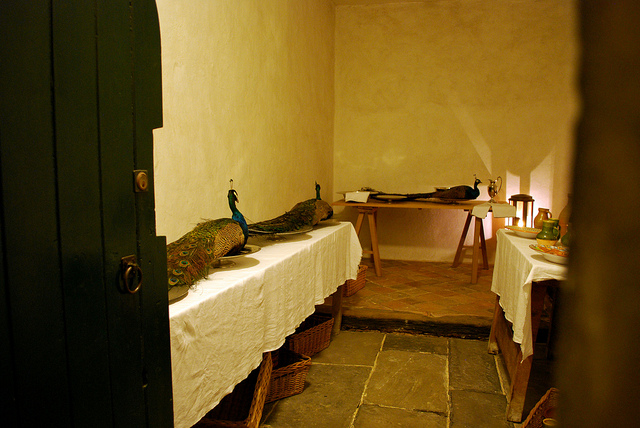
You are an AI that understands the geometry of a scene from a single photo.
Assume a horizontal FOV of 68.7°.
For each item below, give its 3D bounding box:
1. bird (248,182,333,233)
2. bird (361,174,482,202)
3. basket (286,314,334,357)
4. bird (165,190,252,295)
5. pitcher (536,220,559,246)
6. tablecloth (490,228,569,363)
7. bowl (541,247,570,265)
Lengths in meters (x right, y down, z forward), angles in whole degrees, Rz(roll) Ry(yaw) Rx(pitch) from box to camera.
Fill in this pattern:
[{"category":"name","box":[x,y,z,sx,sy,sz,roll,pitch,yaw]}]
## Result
[{"category":"bird","box":[-0.159,-0.025,3.017,0.206,0.242,0.582,5,8,30]},{"category":"bird","box":[1.345,-0.258,5.553,1.055,0.233,0.355,0,8,8]},{"category":"basket","box":[-0.080,0.862,3.335,0.222,0.126,0.322,-2,-2,25]},{"category":"bird","box":[-0.454,0.098,1.840,0.192,0.318,0.491,15,12,29]},{"category":"pitcher","box":[1.254,0.115,2.585,0.142,0.163,0.123,2,-5,-1]},{"category":"tablecloth","box":[0.998,0.387,2.286,0.336,0.447,0.939,1,5,10]},{"category":"bowl","box":[1.141,0.204,2.284,0.103,0.057,0.241,3,8,23]}]
